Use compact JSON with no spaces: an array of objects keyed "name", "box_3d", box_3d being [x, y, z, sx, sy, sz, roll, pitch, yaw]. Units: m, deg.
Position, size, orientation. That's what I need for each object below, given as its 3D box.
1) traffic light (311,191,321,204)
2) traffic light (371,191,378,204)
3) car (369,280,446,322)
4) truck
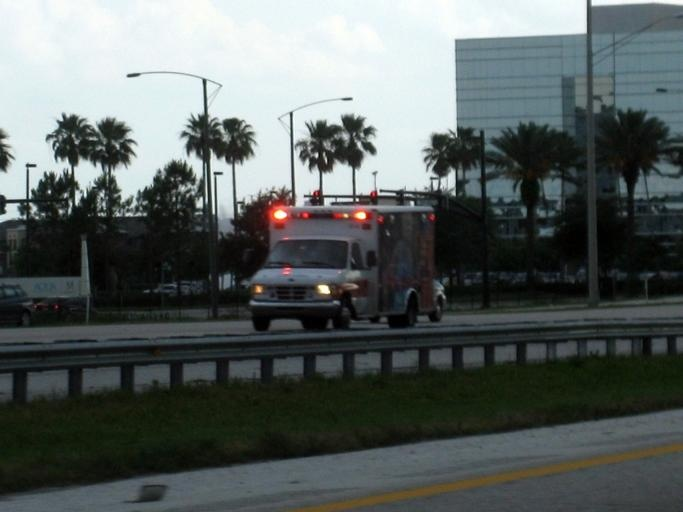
[{"name":"traffic light","box_3d":[-0.643,-1.533,28.221,0.232,0.326,0.538,-2,2,1]},{"name":"traffic light","box_3d":[0.838,-1.558,28.800,0.209,0.321,0.322,-2,2,-12]},{"name":"car","box_3d":[1.610,1.103,28.040,1.045,1.200,2.168,0,3,18]},{"name":"truck","box_3d":[0.258,0.301,26.827,2.335,2.602,4.338,-2,-4,26]}]
